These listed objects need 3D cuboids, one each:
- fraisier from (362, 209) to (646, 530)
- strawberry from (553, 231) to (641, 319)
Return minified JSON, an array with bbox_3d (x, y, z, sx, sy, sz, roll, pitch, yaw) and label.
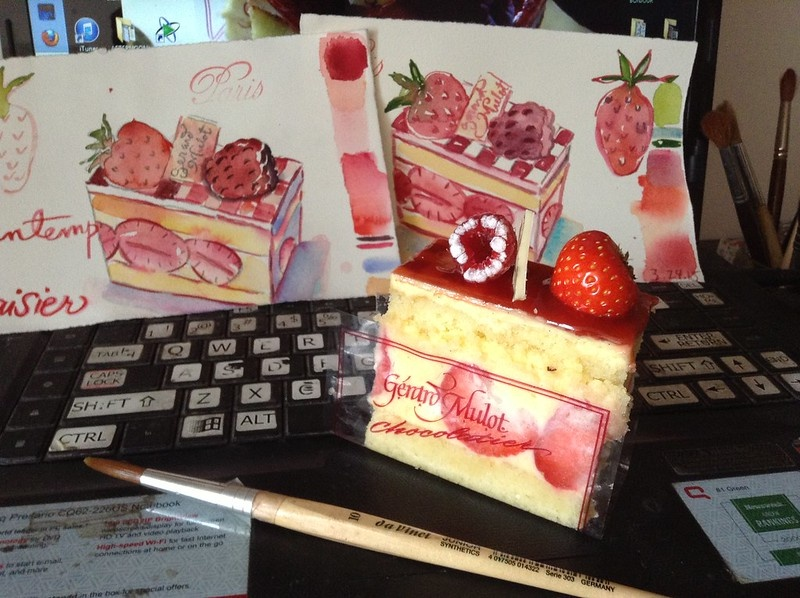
[{"bbox_3d":[0.119,0.055,0.705,0.279,0.302,0.164,16,21,13],"label":"fraisier"},{"bbox_3d":[0.192,-0.023,0.611,0.082,0.090,0.084,-8,19,12],"label":"strawberry"}]
